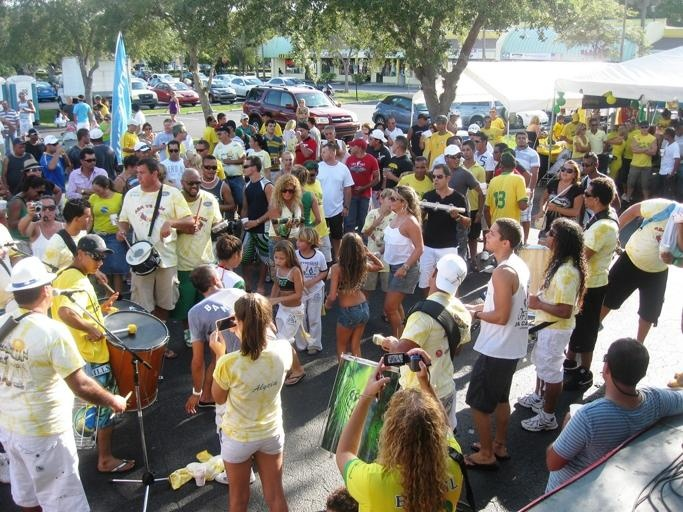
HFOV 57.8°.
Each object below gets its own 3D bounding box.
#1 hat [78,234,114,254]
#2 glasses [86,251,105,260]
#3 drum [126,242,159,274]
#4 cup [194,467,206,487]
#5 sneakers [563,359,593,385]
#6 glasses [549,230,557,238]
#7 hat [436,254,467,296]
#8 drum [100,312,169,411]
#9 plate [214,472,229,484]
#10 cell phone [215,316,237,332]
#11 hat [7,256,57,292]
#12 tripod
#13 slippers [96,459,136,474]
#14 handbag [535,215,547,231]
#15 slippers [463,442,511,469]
[{"bbox_3d":[-2.481,-0.101,6.243,0.248,0.161,0.186,1,13,-8],"label":"hat"},{"bbox_3d":[-2.475,0.002,6.222,0.084,0.030,0.082,37,17,26],"label":"glasses"},{"bbox_3d":[-2.462,0.082,7.850,0.290,0.221,0.292,-4,34,2],"label":"drum"},{"bbox_3d":[-1.442,2.258,6.303,0.081,0.134,0.087,1,31,-1],"label":"cup"},{"bbox_3d":[2.985,1.476,7.797,0.168,0.224,0.475,12,18,39],"label":"sneakers"},{"bbox_3d":[2.296,-0.233,6.732,0.045,0.073,0.050,-1,-4,23],"label":"glasses"},{"bbox_3d":[1.009,0.180,5.628,0.316,0.341,0.208,-7,14,-28],"label":"hat"},{"bbox_3d":[-2.175,1.074,6.828,0.836,0.940,0.922,6,39,-23],"label":"drum"},{"bbox_3d":[-1.215,2.277,6.330,0.191,0.095,0.073,8,15,32],"label":"plate"},{"bbox_3d":[-1.170,0.687,6.279,0.212,0.137,0.024,-19,25,6],"label":"cell phone"},{"bbox_3d":[-2.734,0.203,5.369,0.291,0.173,0.304,-7,13,37],"label":"hat"},{"bbox_3d":[-2.119,1.456,6.517,0.644,1.728,1.365,-4,13,-17],"label":"tripod"},{"bbox_3d":[-2.326,2.183,6.417,0.270,0.087,0.162,1,15,-4],"label":"slippers"},{"bbox_3d":[3.476,-0.567,10.729,0.126,0.229,0.193,-2,-5,-15],"label":"handbag"},{"bbox_3d":[1.491,2.097,6.419,0.347,0.096,0.267,2,30,15],"label":"slippers"}]
